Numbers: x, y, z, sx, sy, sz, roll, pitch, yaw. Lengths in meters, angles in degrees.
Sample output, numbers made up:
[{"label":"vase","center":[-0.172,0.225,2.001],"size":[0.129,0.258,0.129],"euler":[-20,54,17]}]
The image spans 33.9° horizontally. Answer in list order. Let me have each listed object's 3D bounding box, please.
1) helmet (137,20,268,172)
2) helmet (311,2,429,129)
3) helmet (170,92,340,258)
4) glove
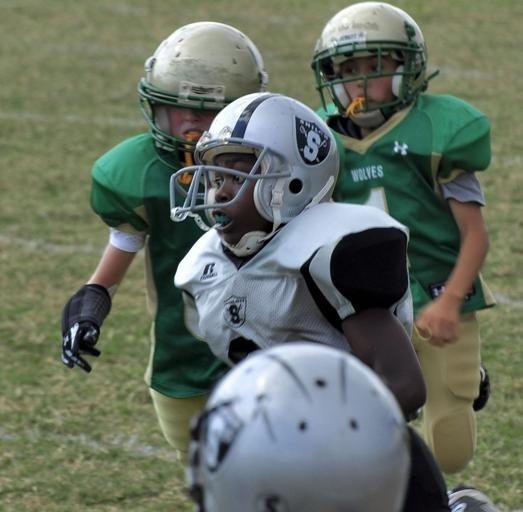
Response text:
[{"label":"helmet","center":[-0.184,-0.548,2.869],"size":[0.444,0.390,0.469],"euler":[3,26,-1]},{"label":"helmet","center":[0.364,-0.668,3.067],"size":[0.419,0.373,0.477],"euler":[-14,6,28]},{"label":"helmet","center":[-0.015,-0.221,2.164],"size":[0.445,0.341,0.334],"euler":[-5,9,-36]},{"label":"glove","center":[-0.512,0.215,2.533],"size":[0.098,0.168,0.244],"euler":[-39,32,29]}]
